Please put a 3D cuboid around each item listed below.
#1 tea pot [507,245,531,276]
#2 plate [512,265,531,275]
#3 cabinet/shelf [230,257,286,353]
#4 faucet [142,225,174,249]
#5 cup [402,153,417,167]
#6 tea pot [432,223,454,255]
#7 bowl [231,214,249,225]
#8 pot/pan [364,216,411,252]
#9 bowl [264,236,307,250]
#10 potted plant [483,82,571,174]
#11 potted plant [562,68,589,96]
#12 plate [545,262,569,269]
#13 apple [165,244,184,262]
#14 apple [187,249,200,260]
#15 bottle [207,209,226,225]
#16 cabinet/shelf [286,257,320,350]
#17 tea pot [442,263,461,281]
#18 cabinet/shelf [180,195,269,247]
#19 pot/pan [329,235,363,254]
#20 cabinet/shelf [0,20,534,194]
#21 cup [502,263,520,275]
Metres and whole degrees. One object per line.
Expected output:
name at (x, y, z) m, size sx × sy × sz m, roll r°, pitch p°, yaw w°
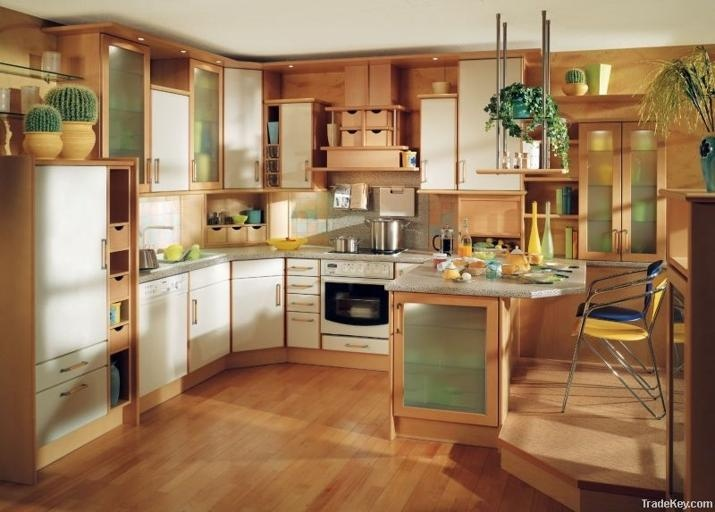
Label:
tea pot at (1.229, 0.039, 4.398) m, size 0.172 × 0.139 × 0.220 m, roll -1°, pitch -2°, yaw 16°
plate at (1.233, 0.104, 4.338) m, size 0.112 × 0.037 × 0.069 m, roll -3°, pitch 3°, yaw -22°
cabinet/shelf at (-0.981, 0.466, 5.651) m, size 0.551 × 0.862 × 0.225 m, roll -3°, pitch 12°, yaw -15°
faucet at (-1.922, -0.191, 5.519) m, size 0.192 × 0.256 × 0.455 m, roll 0°, pitch 11°, yaw -1°
cup at (0.518, -0.964, 5.816) m, size 0.158 × 0.149 × 0.155 m, roll 0°, pitch 0°, yaw 0°
tea pot at (0.834, -0.149, 5.695) m, size 0.232 × 0.274 × 0.569 m, roll 2°, pitch 11°, yaw 9°
bowl at (-1.268, -0.393, 6.168) m, size 0.132 × 0.070 × 0.122 m, roll -1°, pitch 1°, yaw 0°
pot/pan at (0.288, -0.193, 5.858) m, size 0.526 × 0.309 × 0.314 m, roll 0°, pitch 0°, yaw 1°
bowl at (-0.736, -0.133, 6.100) m, size 0.342 × 0.132 × 0.409 m, roll 9°, pitch 14°, yaw 40°
potted plant at (1.192, -0.914, 4.093) m, size 0.586 × 0.573 × 0.334 m, roll 3°, pitch 12°, yaw 14°
potted plant at (1.941, -1.544, 5.185) m, size 0.284 × 0.237 × 0.258 m, roll -1°, pitch 3°, yaw -4°
plate at (1.606, 0.081, 4.673) m, size 0.166 × 0.025 × 0.099 m, roll 0°, pitch 3°, yaw 36°
apple at (-1.673, -0.031, 5.239) m, size 0.166 × 0.139 × 0.176 m, roll 3°, pitch 12°, yaw 15°
apple at (-1.502, -0.028, 5.241) m, size 0.115 × 0.104 × 0.138 m, roll -2°, pitch 11°, yaw -10°
bottle at (-1.514, -0.416, 6.123) m, size 0.212 × 0.163 × 0.075 m, roll 1°, pitch 1°, yaw -20°
cabinet/shelf at (-0.540, 0.462, 5.718) m, size 0.346 × 0.867 × 0.182 m, roll 0°, pitch 12°, yaw 3°
tea pot at (0.703, 0.125, 4.302) m, size 0.128 × 0.101 × 0.117 m, roll 0°, pitch 1°, yaw 0°
cabinet/shelf at (-1.445, -0.357, 6.089) m, size 0.664 × 0.356 × 0.185 m, roll -2°, pitch 2°, yaw -32°
pot/pan at (-0.112, -0.163, 5.829) m, size 0.320 × 0.176 × 0.187 m, roll 0°, pitch 7°, yaw 1°
cabinet/shelf at (-1.070, -1.044, 5.406) m, size 3.401 × 0.866 × 1.692 m, roll 0°, pitch 2°, yaw 8°
cup at (1.146, 0.101, 4.326) m, size 0.129 × 0.083 × 0.098 m, roll 2°, pitch 12°, yaw 13°
